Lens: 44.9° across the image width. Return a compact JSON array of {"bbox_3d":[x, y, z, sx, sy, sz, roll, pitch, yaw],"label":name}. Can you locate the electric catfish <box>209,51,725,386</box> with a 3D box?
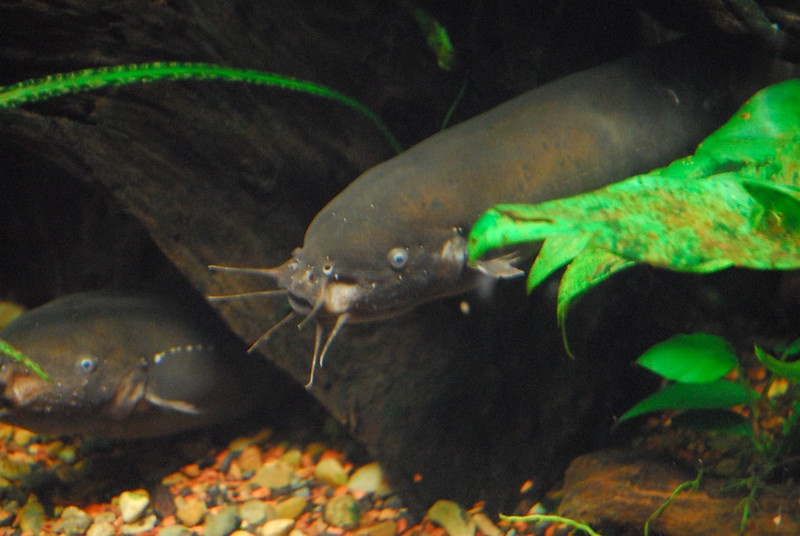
[{"bbox_3d":[0.235,-0.173,2.706,1.228,0.300,0.312,-31,27,-9],"label":"electric catfish"}]
